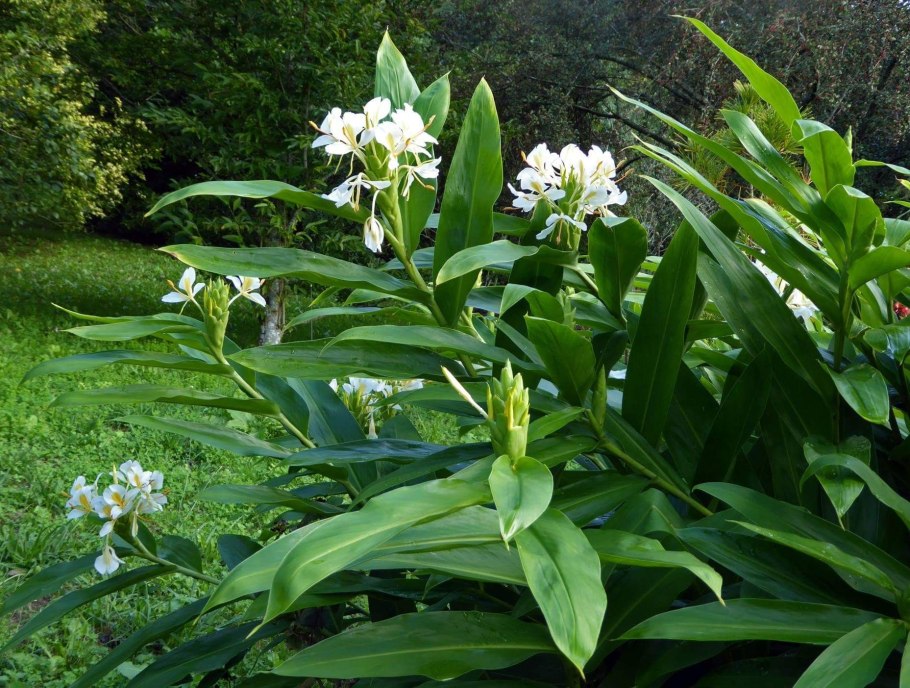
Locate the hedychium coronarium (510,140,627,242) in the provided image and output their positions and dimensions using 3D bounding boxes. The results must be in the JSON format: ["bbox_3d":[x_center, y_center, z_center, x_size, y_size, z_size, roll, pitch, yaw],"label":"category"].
[{"bbox_3d":[0.214,-0.265,1.272,0.223,0.202,0.211,0,-18,6],"label":"hedychium coronarium"}]

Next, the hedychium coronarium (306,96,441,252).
[{"bbox_3d":[-0.133,-0.275,1.096,0.198,0.254,0.212,2,19,-14],"label":"hedychium coronarium"}]

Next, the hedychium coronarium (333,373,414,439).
[{"bbox_3d":[-0.224,0.146,1.831,0.226,0.108,0.216,1,13,-11],"label":"hedychium coronarium"}]

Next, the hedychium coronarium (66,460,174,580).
[{"bbox_3d":[-0.799,0.424,1.550,0.186,0.382,0.277,-5,22,-31],"label":"hedychium coronarium"}]
